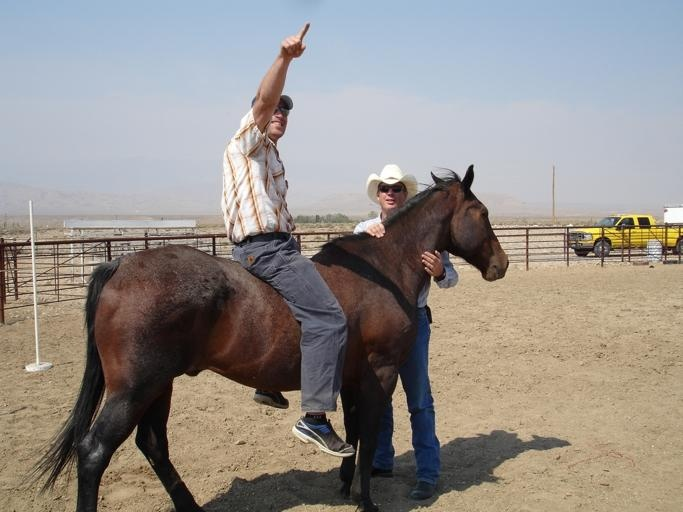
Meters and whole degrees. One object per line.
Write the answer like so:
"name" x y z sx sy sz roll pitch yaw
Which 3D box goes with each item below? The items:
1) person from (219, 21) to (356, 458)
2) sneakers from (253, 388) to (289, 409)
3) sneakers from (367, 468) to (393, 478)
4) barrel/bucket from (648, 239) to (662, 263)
"person" -0.542 -0.276 6.089 1.009 3.435 0.498 -1 3 30
"sneakers" -0.689 1.411 6.658 0.340 0.229 0.167 10 13 -2
"sneakers" 0.415 2.275 7.129 0.232 0.108 0.088 7 0 -6
"barrel/bucket" 10.899 -0.152 23.567 0.442 0.740 0.839 -1 3 24
